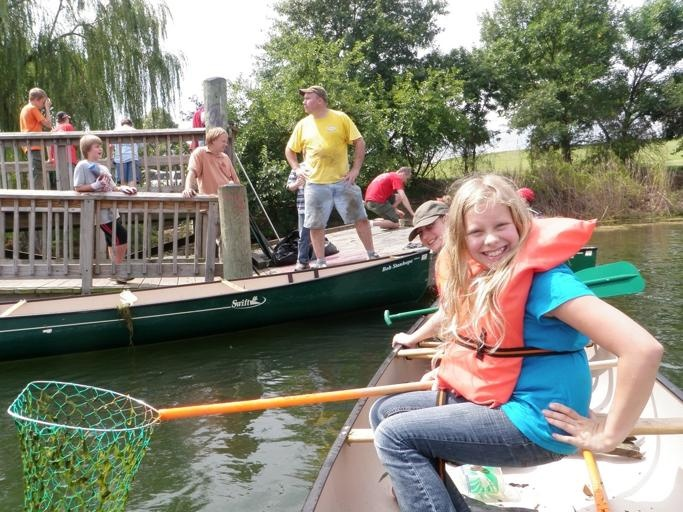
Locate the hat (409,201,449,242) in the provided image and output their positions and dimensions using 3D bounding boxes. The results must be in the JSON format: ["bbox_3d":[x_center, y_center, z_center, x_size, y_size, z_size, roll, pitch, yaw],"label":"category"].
[{"bbox_3d":[0.610,-0.280,4.949,0.332,0.179,0.217,-30,-2,-29],"label":"hat"}]

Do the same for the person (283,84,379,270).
[{"bbox_3d":[-0.134,-0.952,8.200,1.009,2.195,0.681,-6,8,-6],"label":"person"}]

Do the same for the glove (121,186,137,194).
[{"bbox_3d":[-2.587,-0.786,8.280,0.138,0.055,0.225,9,2,-12],"label":"glove"}]

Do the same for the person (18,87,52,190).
[{"bbox_3d":[-4.606,-1.822,10.356,0.460,1.334,1.696,-9,4,-24],"label":"person"}]

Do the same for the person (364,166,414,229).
[{"bbox_3d":[0.918,-1.015,12.075,0.906,1.146,1.020,6,10,28],"label":"person"}]

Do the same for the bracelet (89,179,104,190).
[{"bbox_3d":[-2.919,-0.833,8.102,0.133,0.107,0.138,-8,4,-19],"label":"bracelet"}]
